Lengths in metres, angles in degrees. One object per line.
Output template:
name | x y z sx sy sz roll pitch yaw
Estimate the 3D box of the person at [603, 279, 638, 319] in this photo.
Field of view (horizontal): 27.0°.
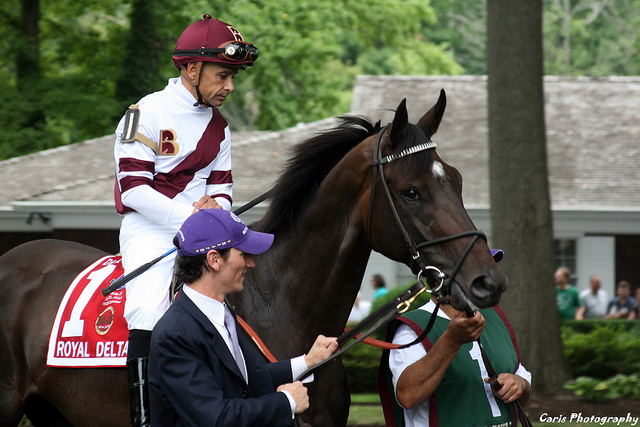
person | 6.338 1.809 28.095 0.699 0.858 0.551 9 -8 22
